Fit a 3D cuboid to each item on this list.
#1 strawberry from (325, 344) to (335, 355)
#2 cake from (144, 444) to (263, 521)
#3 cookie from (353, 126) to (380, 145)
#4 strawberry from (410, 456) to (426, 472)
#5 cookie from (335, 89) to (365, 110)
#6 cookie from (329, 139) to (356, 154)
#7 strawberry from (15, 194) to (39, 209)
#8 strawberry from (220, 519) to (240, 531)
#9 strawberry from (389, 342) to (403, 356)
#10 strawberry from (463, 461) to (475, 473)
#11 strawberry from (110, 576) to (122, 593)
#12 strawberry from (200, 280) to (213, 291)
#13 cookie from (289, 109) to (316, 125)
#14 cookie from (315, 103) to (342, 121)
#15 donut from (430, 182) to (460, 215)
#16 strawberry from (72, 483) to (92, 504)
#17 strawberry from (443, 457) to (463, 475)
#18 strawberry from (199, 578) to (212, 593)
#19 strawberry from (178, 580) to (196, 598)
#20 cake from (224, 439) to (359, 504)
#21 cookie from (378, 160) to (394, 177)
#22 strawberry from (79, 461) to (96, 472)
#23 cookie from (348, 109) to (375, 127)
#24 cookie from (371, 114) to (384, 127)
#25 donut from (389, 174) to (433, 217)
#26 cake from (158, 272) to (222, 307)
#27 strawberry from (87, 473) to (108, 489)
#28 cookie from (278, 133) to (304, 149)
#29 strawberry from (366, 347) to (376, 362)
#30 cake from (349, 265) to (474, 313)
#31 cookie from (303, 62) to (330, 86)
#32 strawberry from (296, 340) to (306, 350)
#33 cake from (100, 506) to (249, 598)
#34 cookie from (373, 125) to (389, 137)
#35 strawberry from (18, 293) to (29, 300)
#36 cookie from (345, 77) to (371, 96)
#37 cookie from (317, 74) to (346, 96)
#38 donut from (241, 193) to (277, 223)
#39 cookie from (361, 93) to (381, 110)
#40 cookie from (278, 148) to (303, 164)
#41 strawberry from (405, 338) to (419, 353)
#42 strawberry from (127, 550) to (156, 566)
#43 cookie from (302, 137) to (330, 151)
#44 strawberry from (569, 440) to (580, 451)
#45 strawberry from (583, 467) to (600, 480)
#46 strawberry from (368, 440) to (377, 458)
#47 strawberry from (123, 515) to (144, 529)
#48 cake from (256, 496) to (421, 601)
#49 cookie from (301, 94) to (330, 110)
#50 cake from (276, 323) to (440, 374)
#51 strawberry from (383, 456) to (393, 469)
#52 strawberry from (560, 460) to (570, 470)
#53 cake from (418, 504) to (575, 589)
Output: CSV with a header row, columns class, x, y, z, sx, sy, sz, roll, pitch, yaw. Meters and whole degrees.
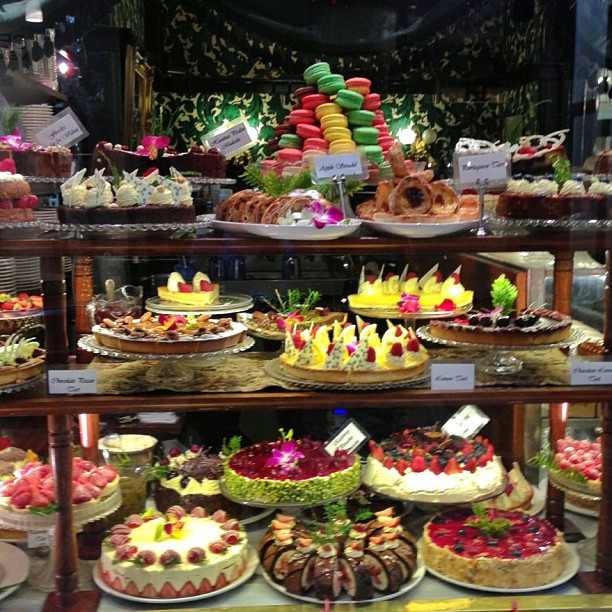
class,x,y,z,sx,sy,sz,roll,pitch,yaw
strawberry,0.068,0.119,1.581,0.017,0.031,0.041,-5,10,-16
cake,-0.388,0.601,2.001,0.308,0.133,0.249,6,29,10
cookie,0.169,-0.471,1.543,0.065,0.033,0.053,5,20,-2
strawberry,0.368,0.517,1.836,0.057,0.041,0.038,0,-7,-18
cookie,0.119,-0.567,1.538,0.066,0.036,0.062,4,9,-36
cookie,0.097,-0.435,1.528,0.060,0.022,0.055,-7,11,-33
strawberry,-0.757,-0.285,1.531,0.014,0.036,0.076,3,10,22
strawberry,-0.252,0.700,1.811,0.044,0.018,0.037,11,7,2
strawberry,0.251,0.121,1.570,0.036,0.036,0.012,-3,11,-5
strawberry,0.540,0.532,1.855,0.034,0.029,0.018,1,11,16
strawberry,-0.555,0.814,1.633,0.049,0.036,0.012,-5,4,29
strawberry,-0.286,-0.060,1.615,0.036,0.032,0.023,-3,11,-11
cookie,-0.011,-0.534,1.578,0.060,0.022,0.051,-3,14,-16
cookie,0.059,-0.540,1.560,0.053,0.013,0.051,2,5,35
donut,0.372,-0.289,1.502,0.050,0.086,0.126,6,12,37
strawberry,-0.706,0.593,1.772,0.049,0.041,0.071,-2,9,-3
strawberry,0.479,0.529,1.840,0.083,0.059,0.047,2,-8,-5
strawberry,-0.295,0.816,1.637,0.036,0.039,0.010,-3,11,-9
strawberry,-0.344,0.822,1.626,0.065,0.017,0.039,-3,1,10
cake,-0.052,0.555,1.938,0.463,0.082,0.388,0,6,-2
cookie,0.224,-0.386,1.568,0.029,0.048,0.043,3,11,25
strawberry,-0.727,0.529,1.863,0.043,0.032,0.036,-4,10,-12
cookie,0.151,-0.519,1.555,0.064,0.032,0.053,2,18,-4
cookie,0.202,-0.524,1.577,0.037,0.021,0.034,-2,18,-3
donut,0.272,-0.279,1.406,0.140,0.102,0.045,-3,17,0
cake,-0.340,-0.057,1.624,0.138,0.063,0.128,6,13,31
strawberry,-0.684,0.570,1.841,0.057,0.016,0.053,21,11,-3
cookie,-0.044,-0.468,1.590,0.065,0.024,0.056,6,14,16
strawberry,0.186,0.131,1.564,0.014,0.042,0.041,5,12,31
cake,0.321,-0.054,1.724,0.375,0.103,0.176,-1,16,22
cookie,0.028,-0.655,1.570,0.071,0.037,0.064,-14,7,23
strawberry,-0.016,0.109,1.617,0.018,0.024,0.029,-8,11,-28
cake,-0.396,0.752,1.748,0.399,0.142,0.353,3,10,27
cookie,0.210,-0.494,1.591,0.042,0.016,0.041,1,-4,-43
strawberry,-0.806,-0.028,1.596,0.040,0.019,0.010,6,13,37
cookie,0.142,-0.601,1.533,0.056,0.029,0.051,-6,15,-32
cookie,0.064,-0.607,1.543,0.077,0.038,0.065,2,11,12
donut,-0.117,-0.255,1.474,0.075,0.081,0.025,-2,-37,40
cookie,0.180,-0.564,1.551,0.053,0.025,0.047,-17,23,-19
cookie,-0.043,-0.422,1.571,0.064,0.026,0.061,17,21,30
strawberry,0.306,0.114,1.608,0.024,0.038,0.044,7,13,39
strawberry,-0.483,0.732,1.639,0.058,0.017,0.042,7,-3,-43
cookie,0.027,-0.448,1.548,0.056,0.018,0.047,1,8,-3
strawberry,0.915,0.470,1.905,0.012,0.037,0.032,-12,14,-40
strawberry,0.957,0.562,1.885,0.046,0.022,0.046,3,-2,-5
strawberry,0.223,0.475,1.889,0.018,0.042,0.028,-8,-1,22
strawberry,-0.556,0.690,1.806,0.058,0.017,0.069,-5,9,-22
cake,0.149,0.741,1.745,0.359,0.090,0.310,-6,14,-1
cookie,0.024,-0.570,1.580,0.061,0.022,0.057,6,12,32
cake,0.165,0.120,1.633,0.452,0.120,0.211,-3,9,-10
strawberry,0.271,0.519,1.857,0.039,0.029,0.041,-3,-6,44
strawberry,0.886,0.542,1.925,0.036,0.023,0.030,1,-7,-7
cake,0.594,0.756,1.785,0.485,0.153,0.285,2,10,19
